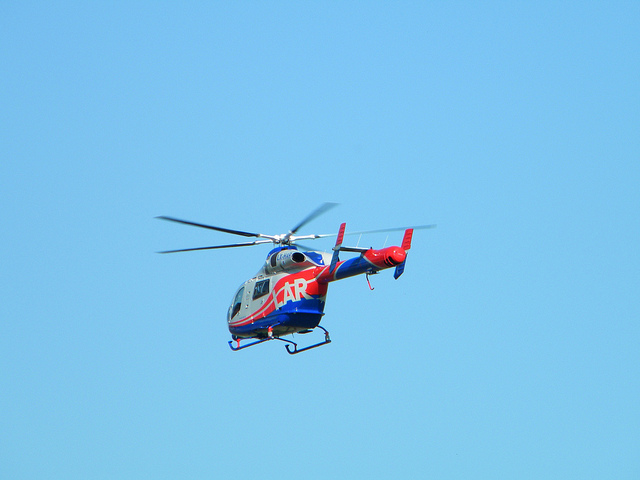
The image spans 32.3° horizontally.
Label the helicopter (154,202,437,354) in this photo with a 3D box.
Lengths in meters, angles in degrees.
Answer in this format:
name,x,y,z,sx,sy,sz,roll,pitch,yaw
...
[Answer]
name,x,y,z,sx,sy,sz,roll,pitch,yaw
helicopter,-0.429,0.932,26.624,5.700,2.627,6.593,2,-8,-43
